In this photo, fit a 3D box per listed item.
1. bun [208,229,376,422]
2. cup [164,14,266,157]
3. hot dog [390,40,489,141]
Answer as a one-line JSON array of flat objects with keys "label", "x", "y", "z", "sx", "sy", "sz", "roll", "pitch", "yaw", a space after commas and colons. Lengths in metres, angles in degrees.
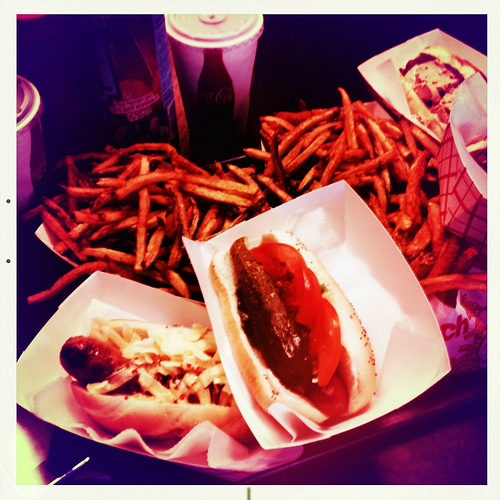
[{"label": "bun", "x": 0.082, "y": 0.191, "z": 1.125, "sx": 0.310, "sy": 0.175, "sz": 0.625, "roll": -22, "pitch": 83, "yaw": -8}, {"label": "cup", "x": -0.100, "y": -0.612, "z": 1.522, "sx": 0.307, "sy": 0.463, "sz": 0.354, "roll": -9, "pitch": 50, "yaw": -1}, {"label": "hot dog", "x": 0.663, "y": -0.516, "z": 1.540, "sx": 0.236, "sy": 0.089, "sz": 0.383, "roll": -40, "pitch": 90, "yaw": 5}]
